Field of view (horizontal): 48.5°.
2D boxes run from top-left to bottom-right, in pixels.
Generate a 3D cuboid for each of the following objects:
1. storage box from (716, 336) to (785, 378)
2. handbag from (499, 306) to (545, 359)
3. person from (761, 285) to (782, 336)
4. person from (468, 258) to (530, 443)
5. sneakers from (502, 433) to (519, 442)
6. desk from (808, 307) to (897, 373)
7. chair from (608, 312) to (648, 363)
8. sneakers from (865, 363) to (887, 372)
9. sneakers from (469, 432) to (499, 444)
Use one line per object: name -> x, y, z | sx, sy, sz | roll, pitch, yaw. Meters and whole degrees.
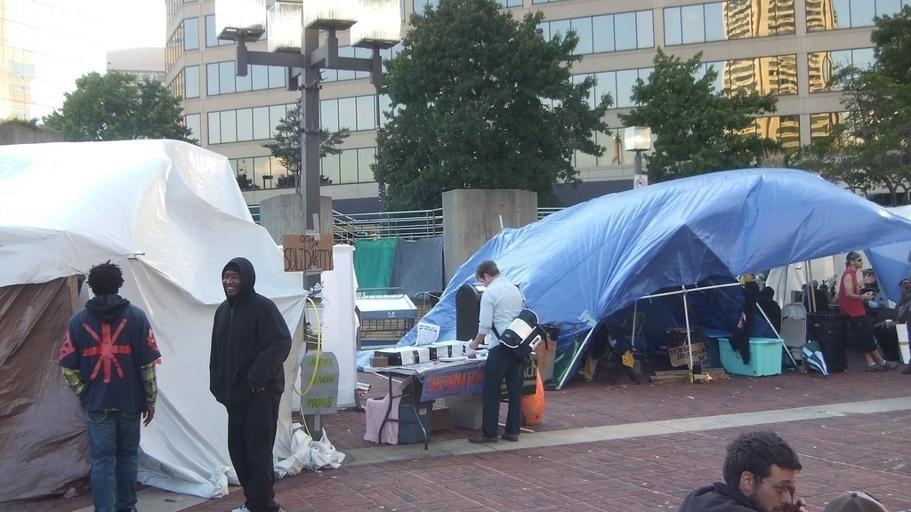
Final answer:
storage box -> 8.110, 2.728, 27.719 | 1.175, 0.879, 1.536 | 0, -1, -29
handbag -> 1.511, 1.697, 22.394 | 1.040, 1.010, 0.416 | -40, -27, 3
person -> 8.711, 1.457, 27.869 | 0.316, 1.213, 0.842 | -3, -2, 43
person -> 0.973, 2.122, 22.678 | 1.195, 4.037, 0.590 | -2, -2, 0
sneakers -> 1.242, 4.052, 22.694 | 0.144, 0.148, 0.346 | -2, 5, -30
desk -> 10.981, 2.327, 27.936 | 1.910, 1.873, 1.868 | -3, -1, 31
chair -> 4.754, 2.132, 27.897 | 1.204, 1.556, 1.277 | 1, -1, -2
sneakers -> 11.387, 2.998, 27.339 | 0.531, 0.201, 0.198 | -1, -1, -9
sneakers -> 0.631, 4.067, 22.706 | 0.639, 0.227, 0.241 | 3, -8, -1
